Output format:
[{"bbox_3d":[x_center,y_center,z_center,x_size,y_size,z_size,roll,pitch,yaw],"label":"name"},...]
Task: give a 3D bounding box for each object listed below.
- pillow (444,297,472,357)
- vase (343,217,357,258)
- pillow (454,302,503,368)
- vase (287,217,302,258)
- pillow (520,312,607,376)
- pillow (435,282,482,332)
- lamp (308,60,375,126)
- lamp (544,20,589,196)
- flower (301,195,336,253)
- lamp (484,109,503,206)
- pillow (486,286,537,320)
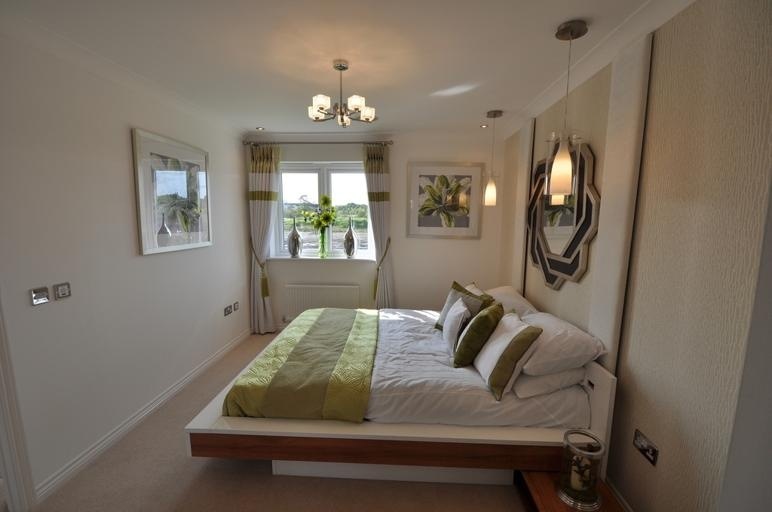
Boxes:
[{"bbox_3d":[0.599,0.619,4.633,0.208,0.425,0.697,7,3,-3],"label":"pillow"},{"bbox_3d":[-0.441,-0.221,6.250,0.151,0.487,0.105,-6,7,-21],"label":"vase"},{"bbox_3d":[0.808,0.678,4.327,0.314,0.510,0.627,5,3,20],"label":"pillow"},{"bbox_3d":[-1.135,-0.227,6.313,0.125,0.489,0.201,-1,7,18],"label":"vase"},{"bbox_3d":[1.353,0.696,4.137,0.896,0.317,0.933,2,6,-3],"label":"pillow"},{"bbox_3d":[0.675,0.515,4.612,0.134,0.432,0.448,17,4,-13],"label":"pillow"},{"bbox_3d":[-0.389,-1.392,4.177,0.522,0.438,0.527,-8,27,-14],"label":"lamp"},{"bbox_3d":[1.391,-1.049,3.865,0.308,1.291,0.860,-1,7,18],"label":"lamp"},{"bbox_3d":[-0.820,-0.371,6.250,0.422,0.740,0.266,-4,7,-3],"label":"flower"},{"bbox_3d":[1.184,-1.028,5.483,0.219,0.971,0.897,-2,6,12],"label":"lamp"},{"bbox_3d":[1.216,0.490,4.729,0.238,0.107,0.386,-4,9,-7],"label":"pillow"}]
